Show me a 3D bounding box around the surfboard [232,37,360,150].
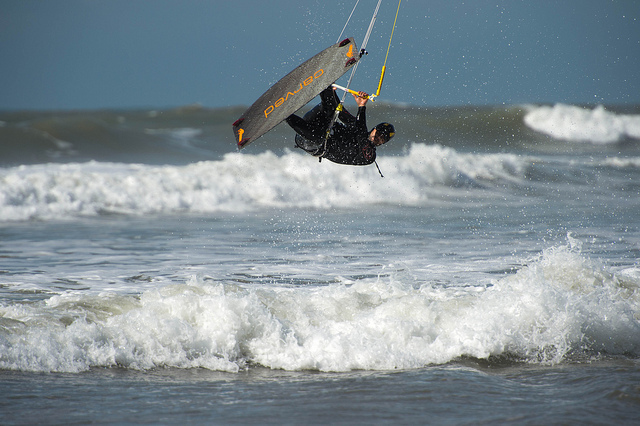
[{"bbox_3d":[-0.612,-2.881,26.021,3.867,1.171,0.505,-41,54,-15],"label":"surfboard"}]
